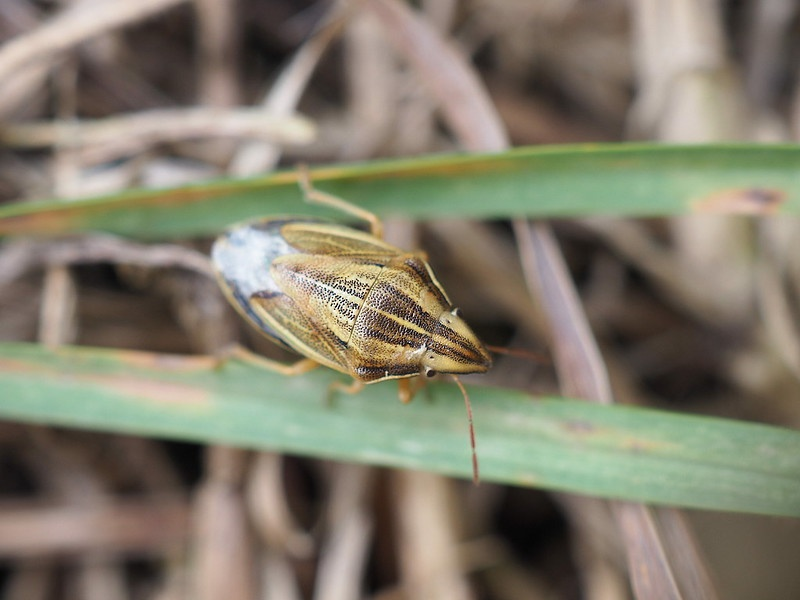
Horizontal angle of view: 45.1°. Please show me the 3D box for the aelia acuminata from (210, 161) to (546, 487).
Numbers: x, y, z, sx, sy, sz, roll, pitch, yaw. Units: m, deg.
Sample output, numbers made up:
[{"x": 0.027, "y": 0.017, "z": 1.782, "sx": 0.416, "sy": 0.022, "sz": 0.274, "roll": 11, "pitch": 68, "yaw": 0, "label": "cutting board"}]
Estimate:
[{"x": -0.191, "y": 0.013, "z": 3.767, "sx": 1.424, "sy": 1.011, "sz": 0.361, "roll": 21, "pitch": -10, "yaw": 7, "label": "aelia acuminata"}]
